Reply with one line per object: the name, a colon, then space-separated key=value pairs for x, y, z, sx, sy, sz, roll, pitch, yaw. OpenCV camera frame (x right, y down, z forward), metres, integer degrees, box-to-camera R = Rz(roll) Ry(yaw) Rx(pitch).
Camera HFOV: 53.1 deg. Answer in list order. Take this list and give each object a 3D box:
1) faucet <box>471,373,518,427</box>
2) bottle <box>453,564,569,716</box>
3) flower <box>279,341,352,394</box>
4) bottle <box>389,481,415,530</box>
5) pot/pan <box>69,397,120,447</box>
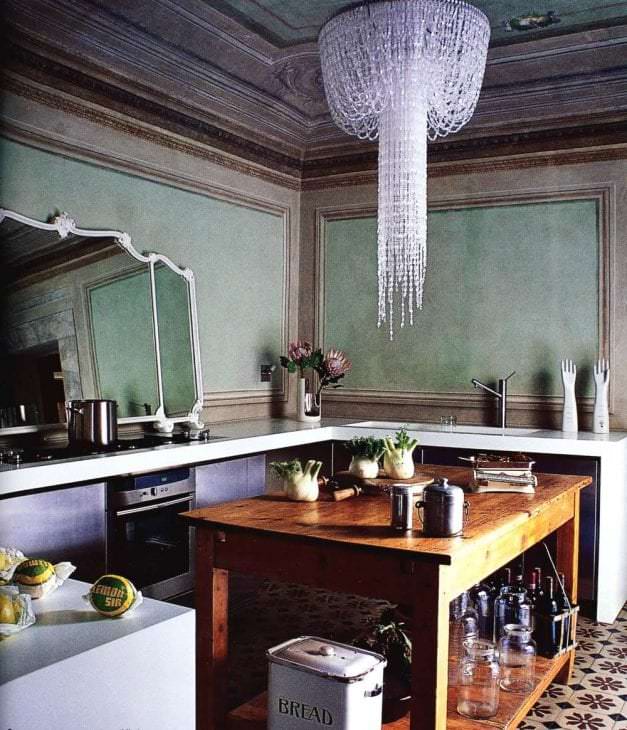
faucet: x=1.333 y=0.282 z=4.669 sx=0.295 sy=0.505 sz=0.118 roll=-2 pitch=31 yaw=13
bottle: x=0.734 y=1.108 z=2.464 sx=0.404 sy=0.446 sz=0.762 roll=-1 pitch=0 yaw=32
flower: x=-0.131 y=0.003 z=5.254 sx=0.513 sy=0.370 sz=0.547 roll=-4 pitch=9 yaw=24
bottle: x=0.291 y=0.459 z=2.043 sx=0.088 sy=0.134 sz=0.097 roll=-1 pitch=-1 yaw=27
pot/pan: x=-1.103 y=0.294 z=3.141 sx=0.252 sy=0.216 sz=0.141 roll=-2 pitch=-2 yaw=2
